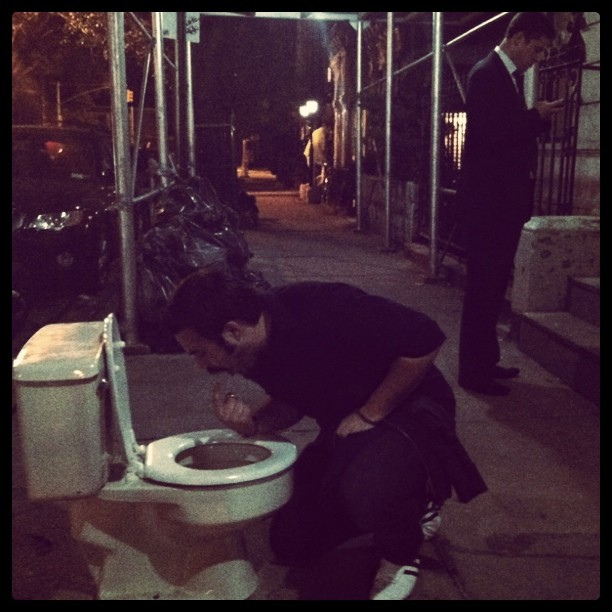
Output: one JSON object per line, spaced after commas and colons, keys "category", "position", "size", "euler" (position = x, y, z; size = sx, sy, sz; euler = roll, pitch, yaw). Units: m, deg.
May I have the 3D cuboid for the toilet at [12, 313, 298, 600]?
{"category": "toilet", "position": [-0.494, 0.531, 2.382], "size": [0.828, 1.130, 0.543], "euler": [-2, 10, -10]}

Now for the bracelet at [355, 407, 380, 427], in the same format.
{"category": "bracelet", "position": [0.218, 0.409, 2.396], "size": [0.085, 0.053, 0.028], "euler": [8, 10, 22]}

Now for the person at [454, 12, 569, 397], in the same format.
{"category": "person", "position": [1.168, -0.560, 3.980], "size": [0.547, 2.283, 0.355], "euler": [4, 9, 14]}
